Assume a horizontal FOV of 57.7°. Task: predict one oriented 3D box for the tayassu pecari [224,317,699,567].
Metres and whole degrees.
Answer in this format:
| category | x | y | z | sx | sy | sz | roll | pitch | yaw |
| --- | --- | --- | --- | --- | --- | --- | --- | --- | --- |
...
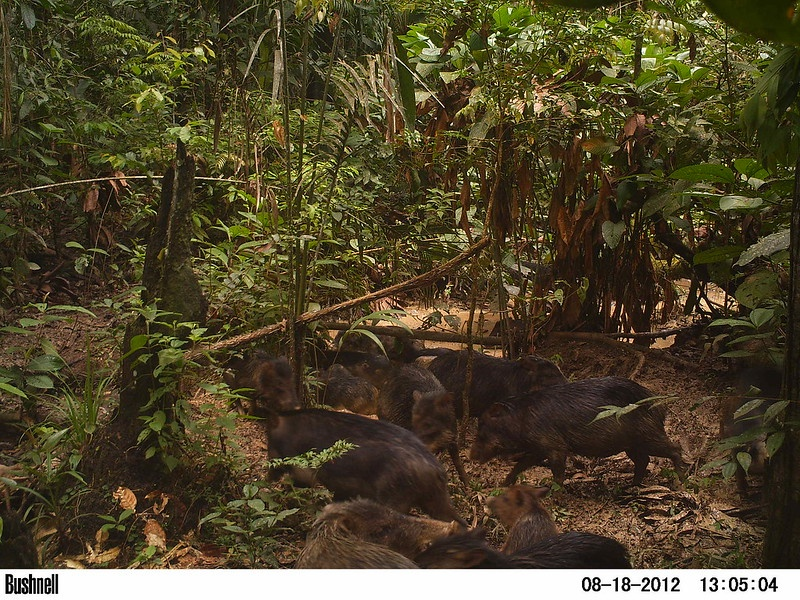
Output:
| category | x | y | z | sx | sy | sz | roll | pitch | yaw |
| --- | --- | --- | --- | --- | --- | --- | --- | --- | --- |
| tayassu pecari | 0.111 | 0.438 | 4.021 | 2.018 | 0.784 | 1.119 | -3 | 11 | -31 |
